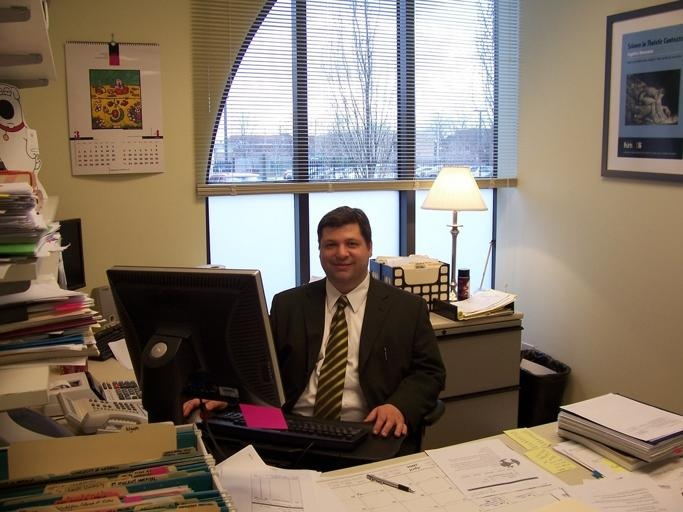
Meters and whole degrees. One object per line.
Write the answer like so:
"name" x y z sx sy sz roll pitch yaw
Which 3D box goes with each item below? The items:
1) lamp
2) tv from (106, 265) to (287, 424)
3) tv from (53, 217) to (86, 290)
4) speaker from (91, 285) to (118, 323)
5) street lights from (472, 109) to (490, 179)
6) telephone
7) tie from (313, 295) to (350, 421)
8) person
"lamp" 0.744 -0.103 3.620 0.436 0.963 0.450 2 6 19
"tv" -0.477 0.306 1.687 0.516 0.572 0.294 4 8 20
"tv" -1.552 -0.024 3.141 0.028 0.428 0.347 9 -2 -31
"speaker" -1.389 0.293 3.163 0.133 0.219 0.143 9 4 13
"street lights" 1.068 -0.859 4.163 0.128 0.674 0.065 1 -21 12
"telephone" -0.883 0.573 1.970 0.253 0.090 0.198 -2 9 -24
"tie" -0.045 0.444 2.412 0.122 0.486 0.240 1 10 15
"person" -0.056 0.423 2.504 0.986 1.391 0.666 0 -24 8
